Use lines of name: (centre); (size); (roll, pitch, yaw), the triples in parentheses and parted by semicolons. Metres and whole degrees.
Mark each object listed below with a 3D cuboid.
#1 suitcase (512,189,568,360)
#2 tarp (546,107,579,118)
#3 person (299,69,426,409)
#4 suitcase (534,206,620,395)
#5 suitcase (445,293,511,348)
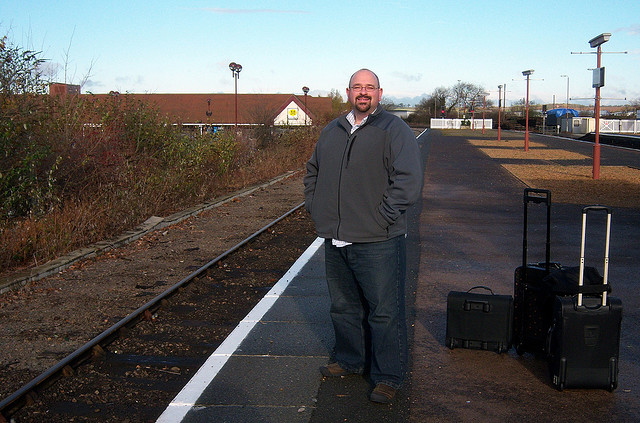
suitcase: (2.429, 0.641, 5.644); (0.564, 1.743, 0.599); (1, -4, 27)
tarp: (38.916, -15.634, 83.462); (5.181, 1.553, 3.426); (-4, 12, -24)
person: (0.437, 0.196, 5.053); (1.085, 3.005, 0.685); (8, 13, 39)
suitcase: (2.630, 0.859, 5.207); (0.576, 1.767, 0.695); (6, -5, 6)
suitcase: (1.703, 1.141, 5.595); (0.489, 0.515, 0.281); (5, 13, 15)
